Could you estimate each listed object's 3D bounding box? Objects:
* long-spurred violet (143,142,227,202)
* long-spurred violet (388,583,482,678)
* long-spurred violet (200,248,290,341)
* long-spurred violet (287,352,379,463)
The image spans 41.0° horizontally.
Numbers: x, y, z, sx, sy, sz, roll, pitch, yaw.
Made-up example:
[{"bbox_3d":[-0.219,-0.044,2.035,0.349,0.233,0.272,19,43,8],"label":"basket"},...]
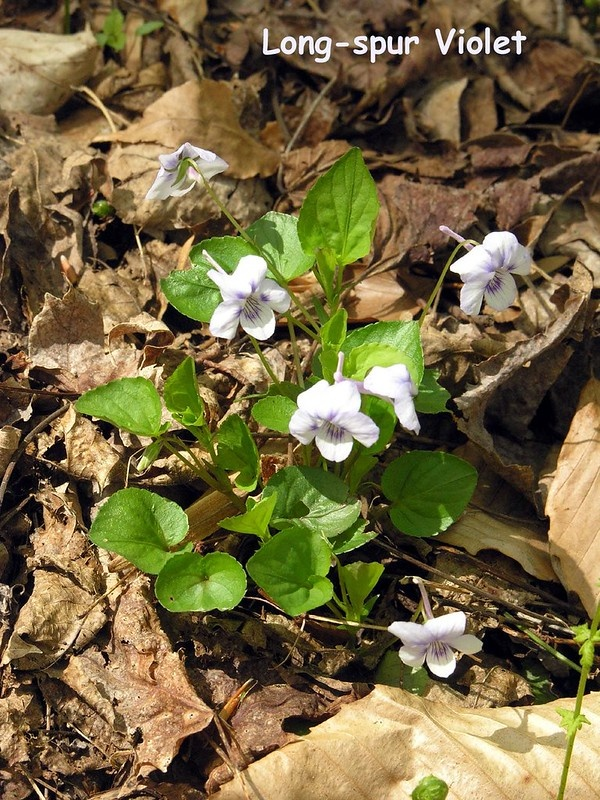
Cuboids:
[{"bbox_3d":[-0.329,-0.698,2.349,0.214,0.205,0.077,-6,84,-4],"label":"long-spurred violet"},{"bbox_3d":[0.328,0.580,2.057,0.226,0.104,0.240,5,51,-7],"label":"long-spurred violet"},{"bbox_3d":[-0.146,-0.271,2.143,0.198,0.245,0.071,-33,10,-17],"label":"long-spurred violet"},{"bbox_3d":[0.074,0.054,2.027,0.182,0.140,0.154,-22,50,-13],"label":"long-spurred violet"}]
